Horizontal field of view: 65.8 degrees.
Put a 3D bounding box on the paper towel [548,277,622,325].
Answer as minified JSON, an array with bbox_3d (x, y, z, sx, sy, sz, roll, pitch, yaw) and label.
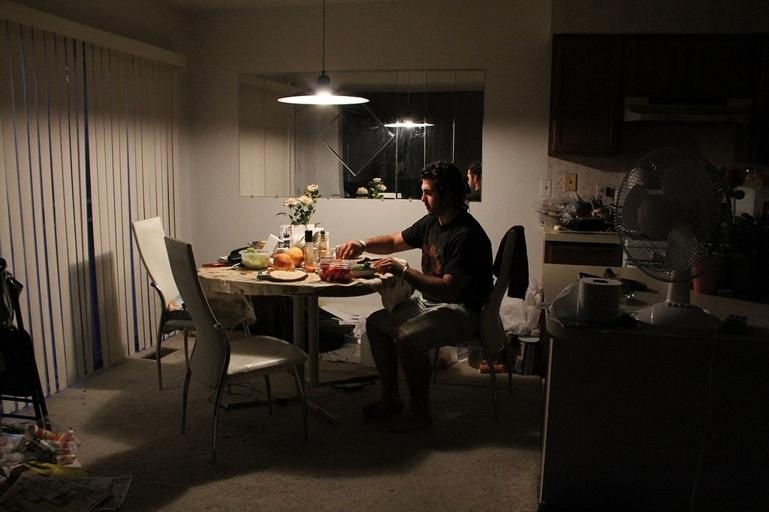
[{"bbox_3d":[0.947,0.180,2.768,0.240,0.158,0.240,0,6,-12],"label":"paper towel"}]

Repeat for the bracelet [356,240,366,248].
[{"bbox_3d":[-0.175,-0.090,4.305,0.089,0.044,0.113,13,-1,-3],"label":"bracelet"}]

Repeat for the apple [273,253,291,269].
[{"bbox_3d":[-0.688,0.034,4.000,0.105,0.107,0.100,8,10,35],"label":"apple"}]

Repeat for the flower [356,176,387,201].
[{"bbox_3d":[-0.126,-0.654,5.616,0.260,0.180,0.173,4,4,40],"label":"flower"}]

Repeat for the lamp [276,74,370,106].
[{"bbox_3d":[-0.509,-1.477,5.260,0.548,0.198,0.553,1,7,1],"label":"lamp"}]

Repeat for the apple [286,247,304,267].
[{"bbox_3d":[-0.595,0.007,4.012,0.118,0.119,0.114,-20,-6,33],"label":"apple"}]

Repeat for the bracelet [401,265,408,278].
[{"bbox_3d":[0.120,0.097,3.778,0.017,0.061,0.061,17,6,-22],"label":"bracelet"}]

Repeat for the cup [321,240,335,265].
[{"bbox_3d":[-0.398,-0.017,4.018,0.097,0.170,0.168,0,0,8],"label":"cup"}]

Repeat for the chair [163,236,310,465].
[{"bbox_3d":[-0.928,0.492,3.811,0.822,1.309,0.825,-5,10,-20],"label":"chair"}]

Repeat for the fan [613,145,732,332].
[{"bbox_3d":[1.352,-0.070,2.735,0.452,0.752,0.543,7,0,-35],"label":"fan"}]

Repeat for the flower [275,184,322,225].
[{"bbox_3d":[-0.736,-0.462,5.118,0.360,0.285,0.368,-7,16,19],"label":"flower"}]
